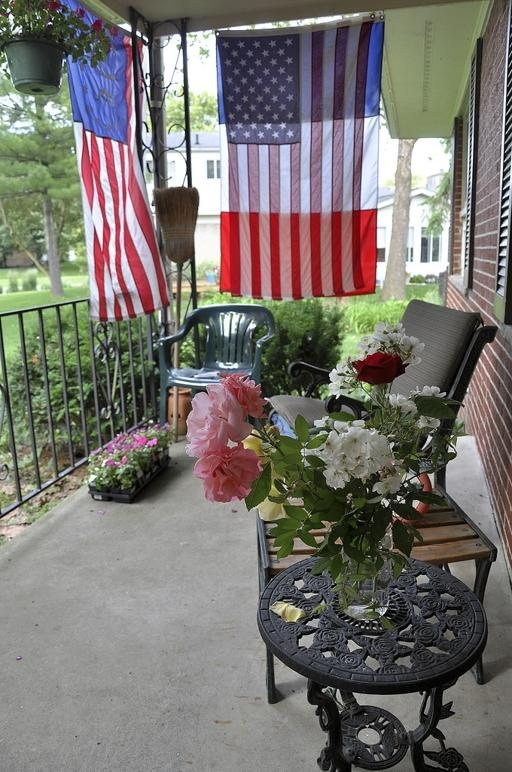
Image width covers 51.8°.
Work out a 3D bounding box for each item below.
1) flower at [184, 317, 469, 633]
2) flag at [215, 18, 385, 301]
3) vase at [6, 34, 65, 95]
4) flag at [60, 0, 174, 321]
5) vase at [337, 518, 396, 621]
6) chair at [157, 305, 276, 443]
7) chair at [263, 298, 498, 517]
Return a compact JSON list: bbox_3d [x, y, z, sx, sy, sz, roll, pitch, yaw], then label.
[{"bbox_3d":[0.125,0.144,0.743,0.323,0.389,0.372,-11,-13,34],"label":"flower"},{"bbox_3d":[0.301,-1.590,3.884,1.203,1.867,0.252,-1,9,5],"label":"flag"},{"bbox_3d":[-1.087,-1.555,2.586,0.209,0.154,0.208,-4,13,-23],"label":"vase"},{"bbox_3d":[-0.865,-1.357,3.283,0.289,1.889,0.866,0,9,9],"label":"flag"},{"bbox_3d":[0.207,0.348,0.954,0.082,0.089,0.165,10,49,-1],"label":"vase"},{"bbox_3d":[-0.259,-0.089,3.624,0.697,0.914,0.674,3,13,14],"label":"chair"},{"bbox_3d":[0.461,0.081,2.069,0.772,0.753,0.613,-8,17,-23],"label":"chair"}]
